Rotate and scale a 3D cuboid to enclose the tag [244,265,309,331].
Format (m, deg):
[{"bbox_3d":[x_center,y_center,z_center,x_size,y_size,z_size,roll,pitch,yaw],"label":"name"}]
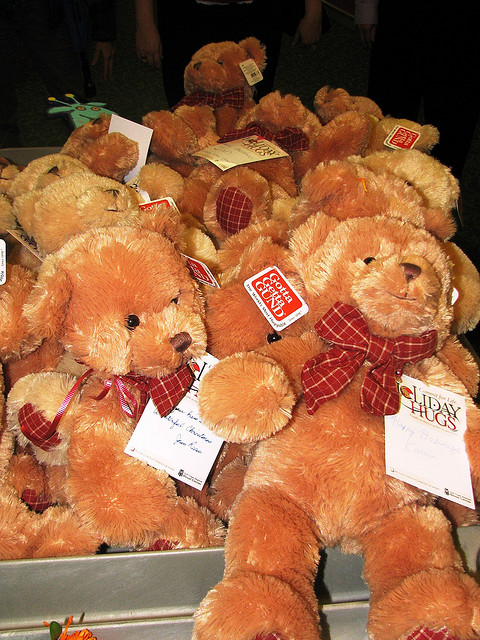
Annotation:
[{"bbox_3d":[0.047,-0.028,0.710,0.066,0.018,0.089,-36,75,4],"label":"tag"}]

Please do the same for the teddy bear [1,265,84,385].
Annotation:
[{"bbox_3d":[-0.243,0.005,0.652,0.129,0.094,0.100,26,42,29],"label":"teddy bear"}]

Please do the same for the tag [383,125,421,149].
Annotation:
[{"bbox_3d":[0.310,-0.348,1.017,0.053,0.025,0.060,25,50,18],"label":"tag"}]

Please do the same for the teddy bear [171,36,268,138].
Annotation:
[{"bbox_3d":[-0.036,-0.543,1.275,0.215,0.225,0.177,9,15,27],"label":"teddy bear"}]

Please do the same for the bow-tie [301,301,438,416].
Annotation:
[{"bbox_3d":[0.141,0.051,0.692,0.180,0.124,0.130,-13,40,-20],"label":"bow-tie"}]

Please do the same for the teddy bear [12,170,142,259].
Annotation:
[{"bbox_3d":[-0.235,-0.163,0.767,0.167,0.081,0.129,13,24,24],"label":"teddy bear"}]

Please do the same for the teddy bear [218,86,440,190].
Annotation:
[{"bbox_3d":[0.272,-0.368,1.063,0.176,0.212,0.226,-24,69,17],"label":"teddy bear"}]

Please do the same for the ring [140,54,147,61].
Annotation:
[{"bbox_3d":[-0.364,-1.003,2.036,0.024,0.032,0.008,25,72,15],"label":"ring"}]

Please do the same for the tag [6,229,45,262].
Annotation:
[{"bbox_3d":[-0.310,-0.109,0.775,0.006,0.056,0.075,-47,48,3],"label":"tag"}]

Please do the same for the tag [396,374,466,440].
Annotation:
[{"bbox_3d":[0.232,0.103,0.656,0.004,0.065,0.117,-5,7,-24],"label":"tag"}]

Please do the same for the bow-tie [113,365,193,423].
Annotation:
[{"bbox_3d":[-0.104,0.089,0.704,0.103,0.061,0.096,-9,34,-14],"label":"bow-tie"}]
